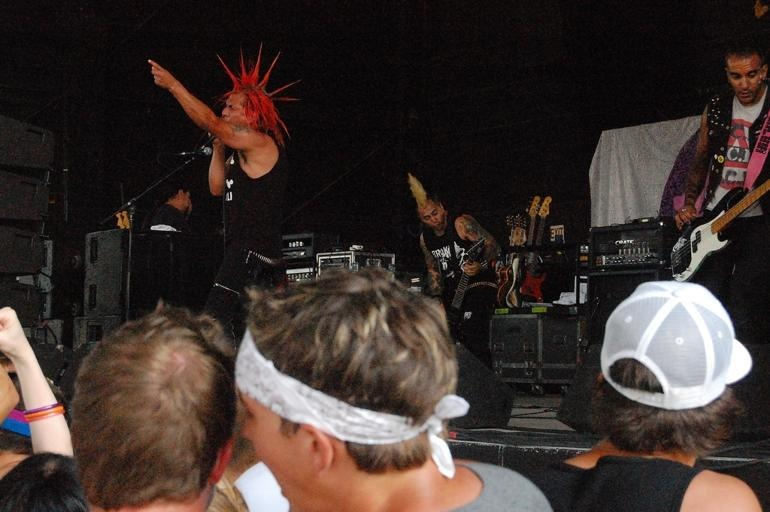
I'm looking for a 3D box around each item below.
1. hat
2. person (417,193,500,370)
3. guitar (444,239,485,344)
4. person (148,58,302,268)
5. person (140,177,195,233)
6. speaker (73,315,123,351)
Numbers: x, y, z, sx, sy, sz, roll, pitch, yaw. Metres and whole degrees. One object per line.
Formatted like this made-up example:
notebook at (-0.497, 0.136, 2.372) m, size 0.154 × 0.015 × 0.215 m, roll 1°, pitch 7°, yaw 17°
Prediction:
hat at (0.754, 0.203, 1.593) m, size 0.252 × 0.194 × 0.366 m, roll 19°, pitch 26°, yaw 39°
person at (0.846, 0.209, 6.885) m, size 0.281 × 1.944 × 0.794 m, roll 19°, pitch -46°, yaw -29°
guitar at (0.838, 0.362, 6.736) m, size 0.124 × 1.046 × 0.380 m, roll 21°, pitch -7°, yaw -43°
person at (-1.193, -0.806, 4.981) m, size 0.779 × 1.725 × 1.131 m, roll 3°, pitch -3°, yaw -10°
person at (-2.116, -0.482, 6.206) m, size 0.694 × 0.655 × 0.379 m, roll 5°, pitch -4°, yaw 42°
speaker at (-2.496, 0.664, 5.378) m, size 0.327 × 0.203 × 0.323 m, roll 2°, pitch -2°, yaw -12°
